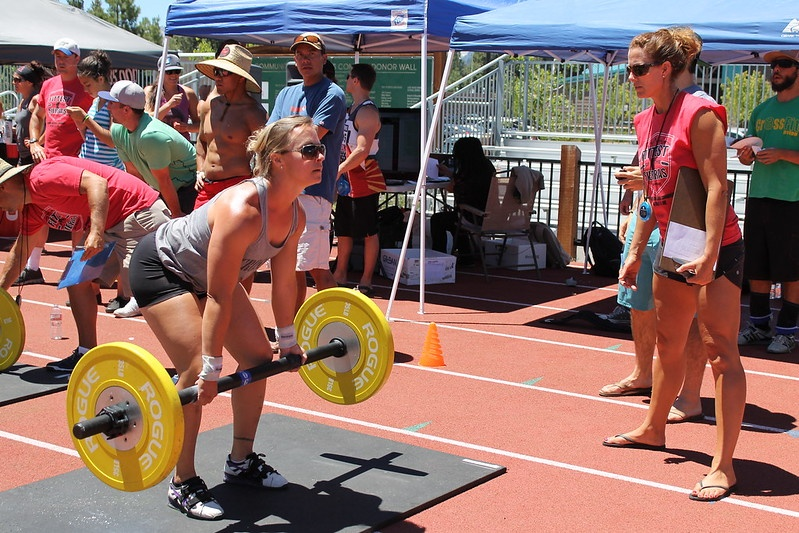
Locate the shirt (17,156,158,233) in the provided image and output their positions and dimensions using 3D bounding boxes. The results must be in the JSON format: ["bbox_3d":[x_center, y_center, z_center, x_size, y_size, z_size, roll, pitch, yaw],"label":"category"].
[{"bbox_3d":[-2.698,-0.658,5.721,0.784,0.319,0.773,-6,-10,-40],"label":"shirt"}]

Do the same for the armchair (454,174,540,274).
[{"bbox_3d":[1.773,-0.815,11.196,1.603,1.831,2.251,3,11,6],"label":"armchair"}]

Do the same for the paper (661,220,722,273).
[{"bbox_3d":[1.855,-0.131,4.268,0.249,0.311,0.127,6,12,22],"label":"paper"}]

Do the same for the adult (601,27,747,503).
[{"bbox_3d":[1.943,-0.062,4.531,0.575,3.132,1.022,-7,14,-37],"label":"adult"}]

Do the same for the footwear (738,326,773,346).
[{"bbox_3d":[4.186,0.812,7.818,0.547,0.263,0.219,1,0,-8],"label":"footwear"}]

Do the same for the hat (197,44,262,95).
[{"bbox_3d":[-1.680,-1.994,6.476,0.517,0.487,0.767,-3,12,-20],"label":"hat"}]

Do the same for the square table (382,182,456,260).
[{"bbox_3d":[0.369,-0.794,12.204,1.304,0.594,2.529,0,29,3],"label":"square table"}]

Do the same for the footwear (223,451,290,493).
[{"bbox_3d":[-0.947,1.356,4.396,0.446,0.213,0.192,6,2,5],"label":"footwear"}]

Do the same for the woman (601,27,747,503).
[{"bbox_3d":[1.952,-0.064,4.543,0.584,3.132,1.030,-6,13,-33],"label":"woman"}]

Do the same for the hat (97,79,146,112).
[{"bbox_3d":[-2.914,-1.779,6.851,0.463,0.280,0.330,8,25,-19],"label":"hat"}]

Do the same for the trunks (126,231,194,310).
[{"bbox_3d":[-1.511,-0.011,4.247,0.364,0.510,0.533,-4,3,4],"label":"trunks"}]

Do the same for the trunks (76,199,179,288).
[{"bbox_3d":[-2.198,-0.223,5.271,0.472,0.790,0.813,6,-6,-22],"label":"trunks"}]

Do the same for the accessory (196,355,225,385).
[{"bbox_3d":[-1.090,0.581,3.727,0.142,0.152,0.133,7,3,23],"label":"accessory"}]

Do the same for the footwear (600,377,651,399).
[{"bbox_3d":[2.130,1.159,6.227,0.472,0.131,0.189,2,-3,-7],"label":"footwear"}]

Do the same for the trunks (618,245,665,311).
[{"bbox_3d":[2.093,0.115,5.841,0.171,0.612,0.436,6,8,17],"label":"trunks"}]

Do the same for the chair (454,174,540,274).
[{"bbox_3d":[1.773,-0.815,11.196,1.603,1.831,2.251,3,11,6],"label":"chair"}]

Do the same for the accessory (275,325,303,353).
[{"bbox_3d":[-0.745,0.482,4.404,0.166,0.178,0.161,-4,5,39],"label":"accessory"}]
